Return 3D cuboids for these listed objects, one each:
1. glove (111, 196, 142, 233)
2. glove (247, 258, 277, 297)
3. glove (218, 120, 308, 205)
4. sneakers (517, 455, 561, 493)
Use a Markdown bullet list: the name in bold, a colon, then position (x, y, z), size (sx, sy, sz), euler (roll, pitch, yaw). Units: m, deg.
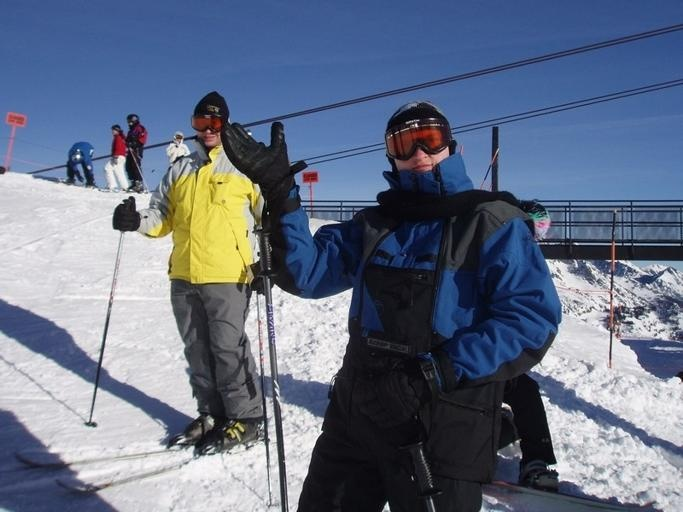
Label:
- **glove**: position (-2.054, -0.403, 5.345), size (0.245, 0.356, 0.125), euler (3, -4, -5)
- **glove**: position (-0.582, 0.157, 4.159), size (0.193, 0.361, 0.160), euler (-19, 36, -36)
- **glove**: position (-0.507, -0.659, 3.888), size (0.458, 0.175, 0.664), euler (-54, 2, -37)
- **sneakers**: position (1.817, 2.024, 4.974), size (0.253, 0.221, 0.364), euler (8, -7, -14)
